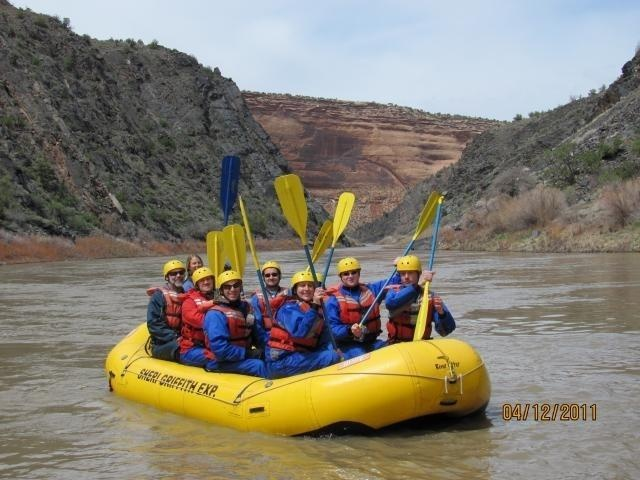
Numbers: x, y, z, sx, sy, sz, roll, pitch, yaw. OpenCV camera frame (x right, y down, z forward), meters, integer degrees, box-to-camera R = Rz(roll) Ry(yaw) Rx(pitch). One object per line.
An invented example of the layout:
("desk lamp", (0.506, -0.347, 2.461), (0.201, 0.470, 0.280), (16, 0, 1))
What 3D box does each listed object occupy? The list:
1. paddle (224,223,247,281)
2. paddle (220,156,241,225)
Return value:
("paddle", (-1.540, 0.253, 17.140), (0.416, 1.022, 0.157), (-5, 15, 10))
("paddle", (-1.785, -1.008, 18.427), (0.463, 1.410, 0.122), (9, -3, -12))
